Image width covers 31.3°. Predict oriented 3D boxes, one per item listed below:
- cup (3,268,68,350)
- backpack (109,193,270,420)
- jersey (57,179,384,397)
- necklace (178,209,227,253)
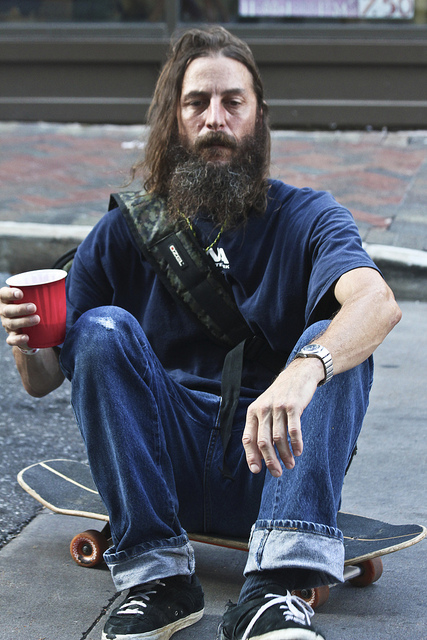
[{"bbox_3d":[-0.459,-0.026,2.004,0.155,0.231,0.208,3,23,-13],"label":"cup"},{"bbox_3d":[-0.079,-0.077,2.305,0.145,0.312,0.750,-4,54,-40],"label":"backpack"},{"bbox_3d":[0.146,-0.117,2.622,1.129,0.630,1.154,3,18,20],"label":"jersey"},{"bbox_3d":[-0.033,-0.271,2.337,0.198,0.123,0.048,5,8,-1],"label":"necklace"}]
